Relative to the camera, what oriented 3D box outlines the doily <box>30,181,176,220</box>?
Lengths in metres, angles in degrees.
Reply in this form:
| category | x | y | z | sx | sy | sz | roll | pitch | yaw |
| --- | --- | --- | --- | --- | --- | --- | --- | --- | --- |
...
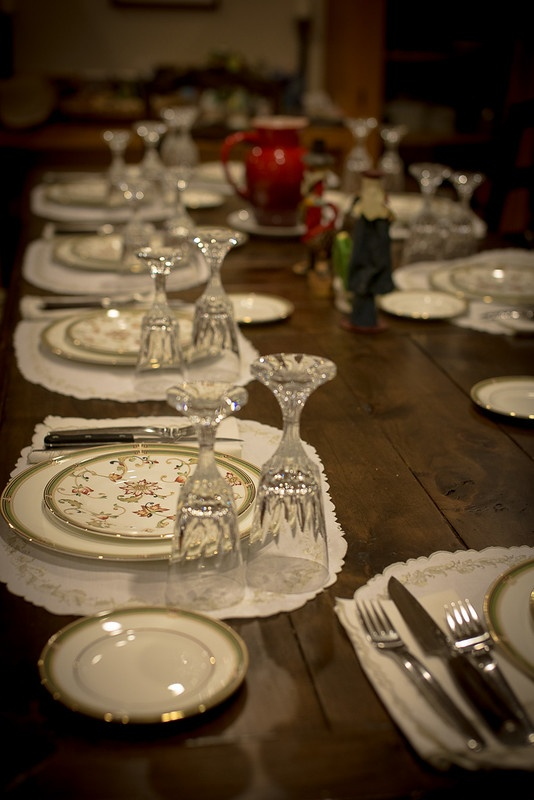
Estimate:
| category | x | y | z | sx | sy | sz | roll | pitch | yaw |
| --- | --- | --- | --- | --- | --- | --- | --- | --- | --- |
| doily | -0.467 | -0.530 | 1.889 | 0.291 | 0.027 | 0.268 | 0 | 29 | -3 |

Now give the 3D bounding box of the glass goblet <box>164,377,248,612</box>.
| category | x | y | z | sx | sy | sz | roll | pitch | yaw |
| --- | --- | --- | --- | --- | --- | --- | --- | --- | --- |
| glass goblet | -0.039 | 0.065 | 0.449 | 0.051 | 0.145 | 0.084 | 1 | 21 | -2 |

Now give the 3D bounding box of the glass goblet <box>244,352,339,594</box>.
| category | x | y | z | sx | sy | sz | roll | pitch | yaw |
| --- | --- | --- | --- | --- | --- | --- | --- | --- | --- |
| glass goblet | 0.017 | 0.048 | 0.493 | 0.061 | 0.154 | 0.094 | 2 | 21 | -1 |

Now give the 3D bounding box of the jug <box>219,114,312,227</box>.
| category | x | y | z | sx | sy | sz | roll | pitch | yaw |
| --- | --- | --- | --- | --- | --- | --- | --- | --- | --- |
| jug | 0.003 | -0.537 | 1.611 | 0.221 | 0.196 | 0.151 | 2 | 26 | 2 |
